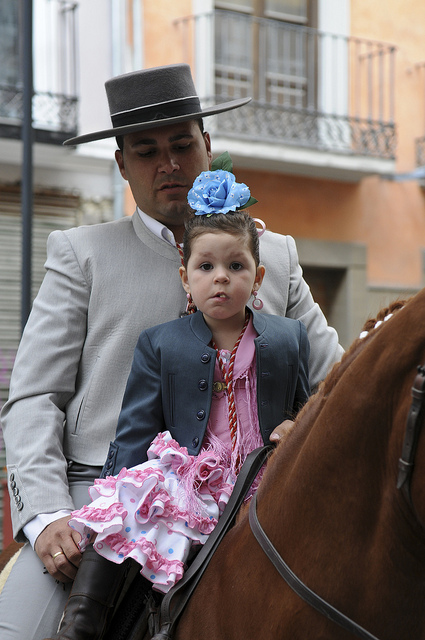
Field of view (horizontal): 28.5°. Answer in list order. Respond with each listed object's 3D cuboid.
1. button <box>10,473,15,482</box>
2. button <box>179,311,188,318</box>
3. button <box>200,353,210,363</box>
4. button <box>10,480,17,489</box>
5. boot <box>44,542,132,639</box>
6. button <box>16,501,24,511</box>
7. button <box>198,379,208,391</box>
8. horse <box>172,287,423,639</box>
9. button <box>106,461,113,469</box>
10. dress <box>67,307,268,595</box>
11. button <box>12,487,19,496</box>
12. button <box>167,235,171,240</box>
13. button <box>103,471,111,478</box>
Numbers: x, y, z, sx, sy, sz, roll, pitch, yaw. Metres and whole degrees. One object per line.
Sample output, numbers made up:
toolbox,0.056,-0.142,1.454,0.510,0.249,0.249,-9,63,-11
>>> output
button,-0.528,0.415,2.202,0.005,0.019,0.019,7,17,-28
button,-0.074,-0.014,2.186,0.017,0.017,0.007,6,-21,-1
button,-0.017,0.090,1.979,0.021,0.020,0.006,-18,-11,29
button,-0.523,0.431,2.187,0.006,0.022,0.023,12,5,-45
boot,-0.257,0.583,1.745,0.106,0.183,0.195,2,7,21
button,-0.484,0.470,2.112,0.008,0.021,0.034,-5,8,-32
button,-0.022,0.154,1.970,0.026,0.024,0.007,-10,-8,28
horse,0.169,0.283,1.388,0.203,0.679,0.561,-5,8,-34
button,-0.246,0.346,2.004,0.005,0.016,0.017,26,9,-42
dress,0.022,0.286,2.043,0.463,0.618,0.481,8,-6,-16
button,-0.508,0.442,2.159,0.025,0.024,0.008,1,-8,44
button,-0.130,-0.249,2.517,0.017,0.016,0.004,-1,-3,14
button,-0.253,0.370,2.010,0.020,0.019,0.005,23,4,34
